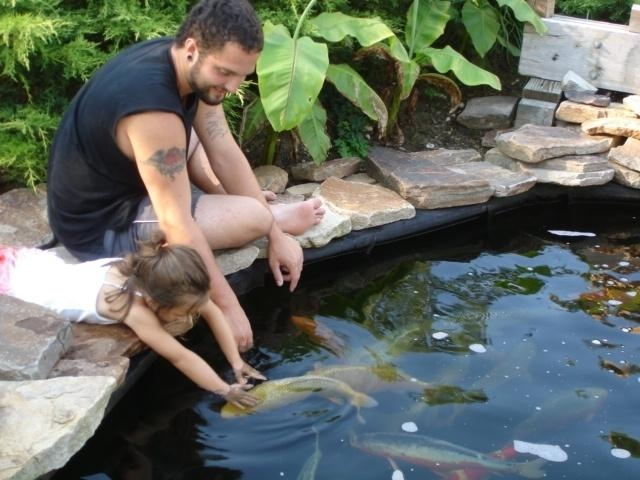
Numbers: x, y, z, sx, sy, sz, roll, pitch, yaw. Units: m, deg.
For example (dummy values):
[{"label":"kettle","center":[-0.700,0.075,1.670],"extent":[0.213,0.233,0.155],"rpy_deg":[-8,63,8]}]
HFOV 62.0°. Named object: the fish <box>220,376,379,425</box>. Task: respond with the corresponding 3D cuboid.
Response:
[{"label":"fish","center":[-0.089,0.878,2.912],"extent":[0.812,0.199,0.238],"rpy_deg":[-8,2,-2]}]
